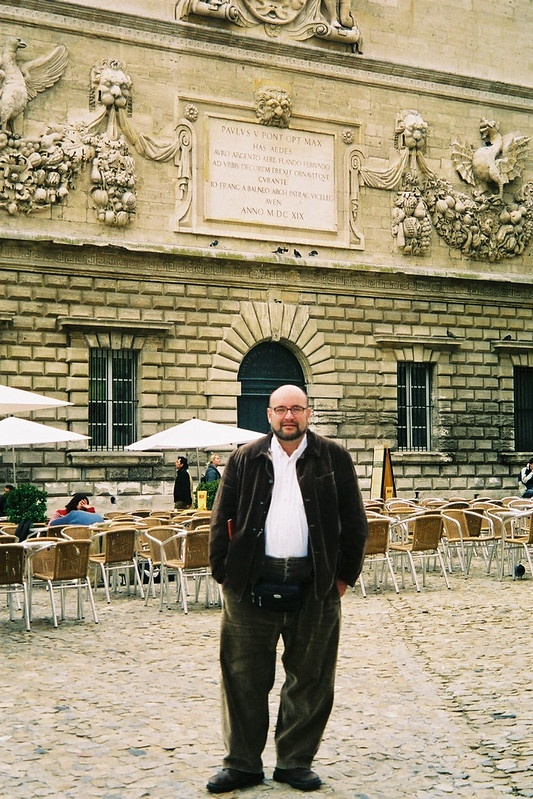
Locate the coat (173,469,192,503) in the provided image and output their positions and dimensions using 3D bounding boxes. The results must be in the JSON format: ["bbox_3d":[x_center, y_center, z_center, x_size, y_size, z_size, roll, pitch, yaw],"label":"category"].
[{"bbox_3d":[-1.240,1.278,20.737,0.287,0.565,0.477,0,-7,10],"label":"coat"}]

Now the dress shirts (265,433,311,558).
[{"bbox_3d":[0.107,0.545,7.972,0.236,0.659,0.263,0,5,1],"label":"dress shirts"}]

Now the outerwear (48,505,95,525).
[{"bbox_3d":[-2.170,1.262,15.764,0.405,0.202,0.498,-2,-2,-11],"label":"outerwear"}]

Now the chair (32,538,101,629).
[{"bbox_3d":[-1.874,1.628,12.898,0.607,0.805,0.592,3,7,25],"label":"chair"}]

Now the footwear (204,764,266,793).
[{"bbox_3d":[-0.185,2.111,7.861,0.309,0.141,0.118,4,-7,-18],"label":"footwear"}]
